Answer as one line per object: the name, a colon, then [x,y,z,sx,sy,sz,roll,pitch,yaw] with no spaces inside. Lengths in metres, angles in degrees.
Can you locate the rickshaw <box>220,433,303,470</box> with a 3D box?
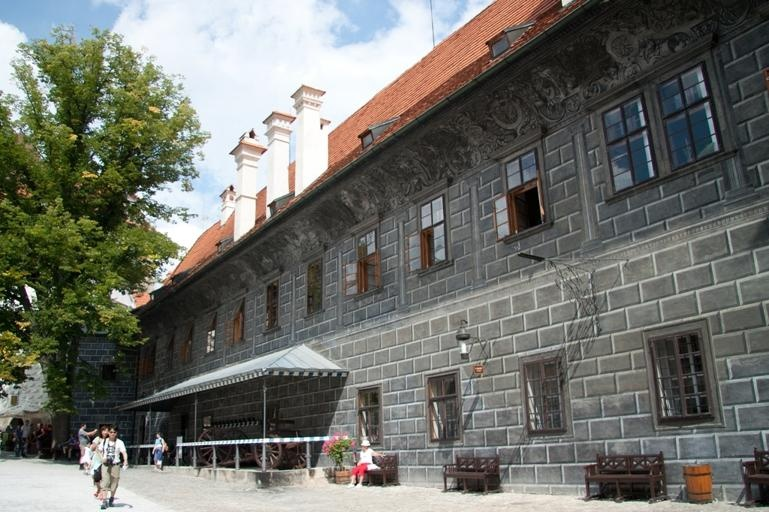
rickshaw: [-4.267,6.805,21.499,3.373,1.373,1.864,-21,-32,40]

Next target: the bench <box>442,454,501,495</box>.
bench: [2.238,5.601,15.875,0.752,0.991,1.770,21,-31,-37]

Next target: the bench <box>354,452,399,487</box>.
bench: [-0.207,6.359,18.245,1.380,1.017,0.856,-19,-31,36]

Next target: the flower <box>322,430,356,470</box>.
flower: [-1.452,6.197,19.462,1.309,1.328,1.095,1,-29,-6]

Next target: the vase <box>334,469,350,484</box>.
vase: [-1.265,6.803,18.880,0.382,0.285,0.388,4,-22,-7]

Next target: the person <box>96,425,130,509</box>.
person: [-6.708,5.114,14.950,0.585,1.974,0.896,11,-25,-22]
